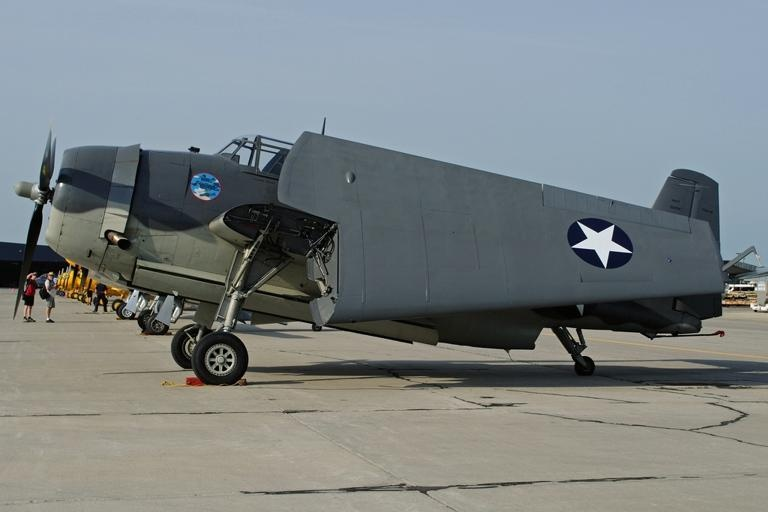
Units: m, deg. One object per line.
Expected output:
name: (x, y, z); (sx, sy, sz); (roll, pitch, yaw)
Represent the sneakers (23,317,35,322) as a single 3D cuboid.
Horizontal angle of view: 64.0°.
sneakers: (-13.987, 2.519, 24.383); (0.474, 0.150, 0.140); (0, 3, -9)
